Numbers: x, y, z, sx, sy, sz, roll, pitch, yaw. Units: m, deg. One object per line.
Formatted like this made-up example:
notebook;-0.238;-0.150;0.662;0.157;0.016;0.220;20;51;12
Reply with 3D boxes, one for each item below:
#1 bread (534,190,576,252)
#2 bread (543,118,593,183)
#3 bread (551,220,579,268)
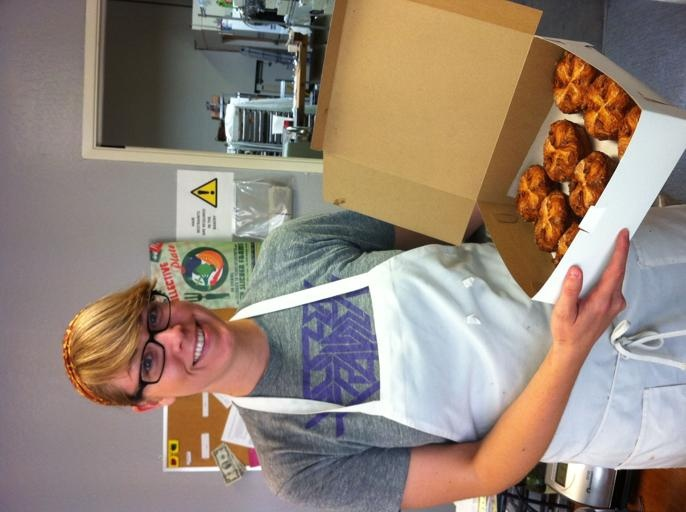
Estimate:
bread;0.542;-0.077;1.389;0.079;0.159;0.218;9;7;35
bread;0.528;-0.237;1.343;0.045;0.149;0.097;5;1;-35
bread;0.498;-0.053;1.270;0.071;0.071;0.016;-36;55;-21
